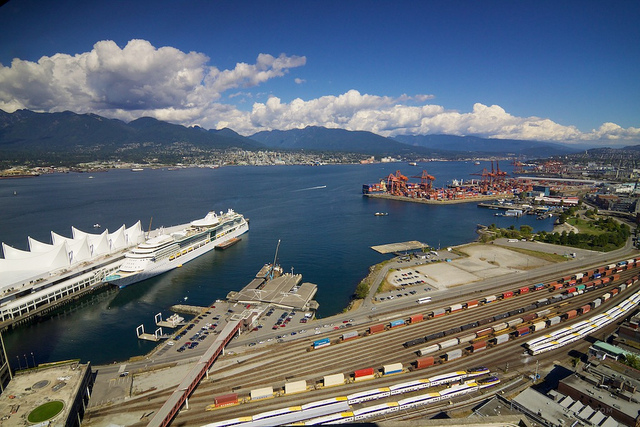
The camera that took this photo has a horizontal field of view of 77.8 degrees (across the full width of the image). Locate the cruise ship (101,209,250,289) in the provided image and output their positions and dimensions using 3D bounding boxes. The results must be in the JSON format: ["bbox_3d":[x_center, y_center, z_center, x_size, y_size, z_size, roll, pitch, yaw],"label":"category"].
[{"bbox_3d":[-25.726,5.214,77.442,5.958,7.847,33.760,-1,15,30],"label":"cruise ship"}]
